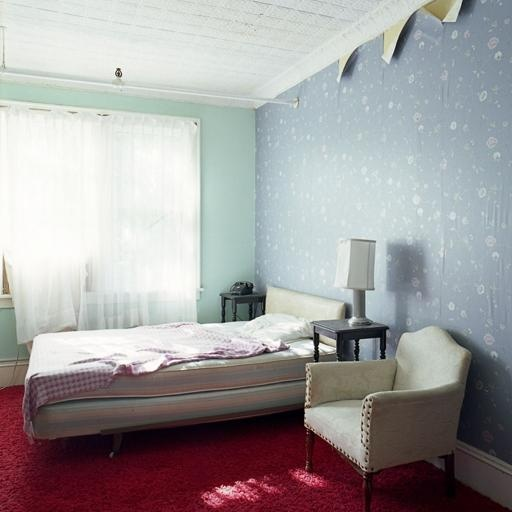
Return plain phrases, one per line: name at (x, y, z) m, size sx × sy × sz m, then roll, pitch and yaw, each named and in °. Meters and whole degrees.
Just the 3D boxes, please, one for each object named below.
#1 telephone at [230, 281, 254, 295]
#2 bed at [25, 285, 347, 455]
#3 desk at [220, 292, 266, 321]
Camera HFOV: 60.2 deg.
telephone at (-0.135, 0.357, 4.803) m, size 0.136 × 0.098 × 0.192 m, roll 1°, pitch 0°, yaw -31°
bed at (-0.536, 0.602, 3.126) m, size 1.640 × 0.695 × 1.174 m, roll 1°, pitch 1°, yaw -23°
desk at (-0.139, 0.497, 4.788) m, size 0.370 × 0.380 × 0.372 m, roll 0°, pitch -1°, yaw -25°
